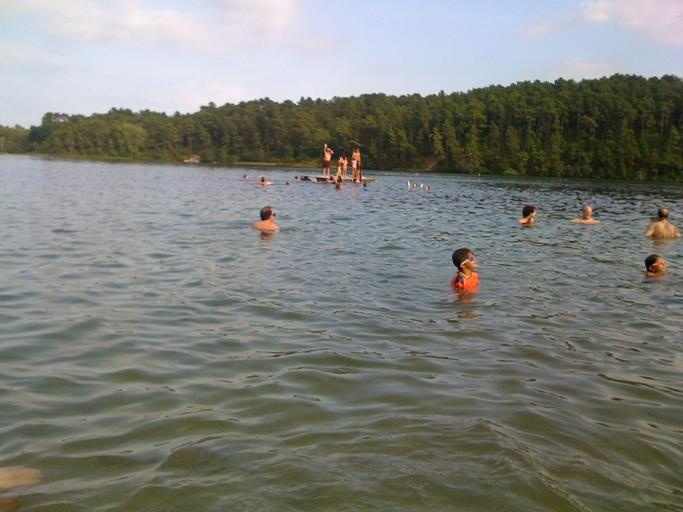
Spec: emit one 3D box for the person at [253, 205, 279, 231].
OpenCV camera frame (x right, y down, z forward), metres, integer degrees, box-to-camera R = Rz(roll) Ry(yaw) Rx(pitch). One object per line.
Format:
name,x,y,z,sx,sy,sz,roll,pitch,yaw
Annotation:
person,-2.192,-1.101,17.678,0.663,0.733,0.980,-2,9,-8

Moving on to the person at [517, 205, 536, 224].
person,6.640,-1.495,21.501,0.496,0.719,1.605,2,9,15

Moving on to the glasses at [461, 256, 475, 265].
glasses,2.438,0.063,11.335,0.174,0.155,0.322,7,11,40

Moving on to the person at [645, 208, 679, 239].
person,9.689,-0.994,18.111,0.890,0.865,1.329,2,9,17

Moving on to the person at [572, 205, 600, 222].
person,10.195,-1.778,25.133,1.437,0.781,0.585,2,34,13

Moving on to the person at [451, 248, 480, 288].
person,2.345,0.239,11.368,0.482,0.757,0.568,1,9,8
